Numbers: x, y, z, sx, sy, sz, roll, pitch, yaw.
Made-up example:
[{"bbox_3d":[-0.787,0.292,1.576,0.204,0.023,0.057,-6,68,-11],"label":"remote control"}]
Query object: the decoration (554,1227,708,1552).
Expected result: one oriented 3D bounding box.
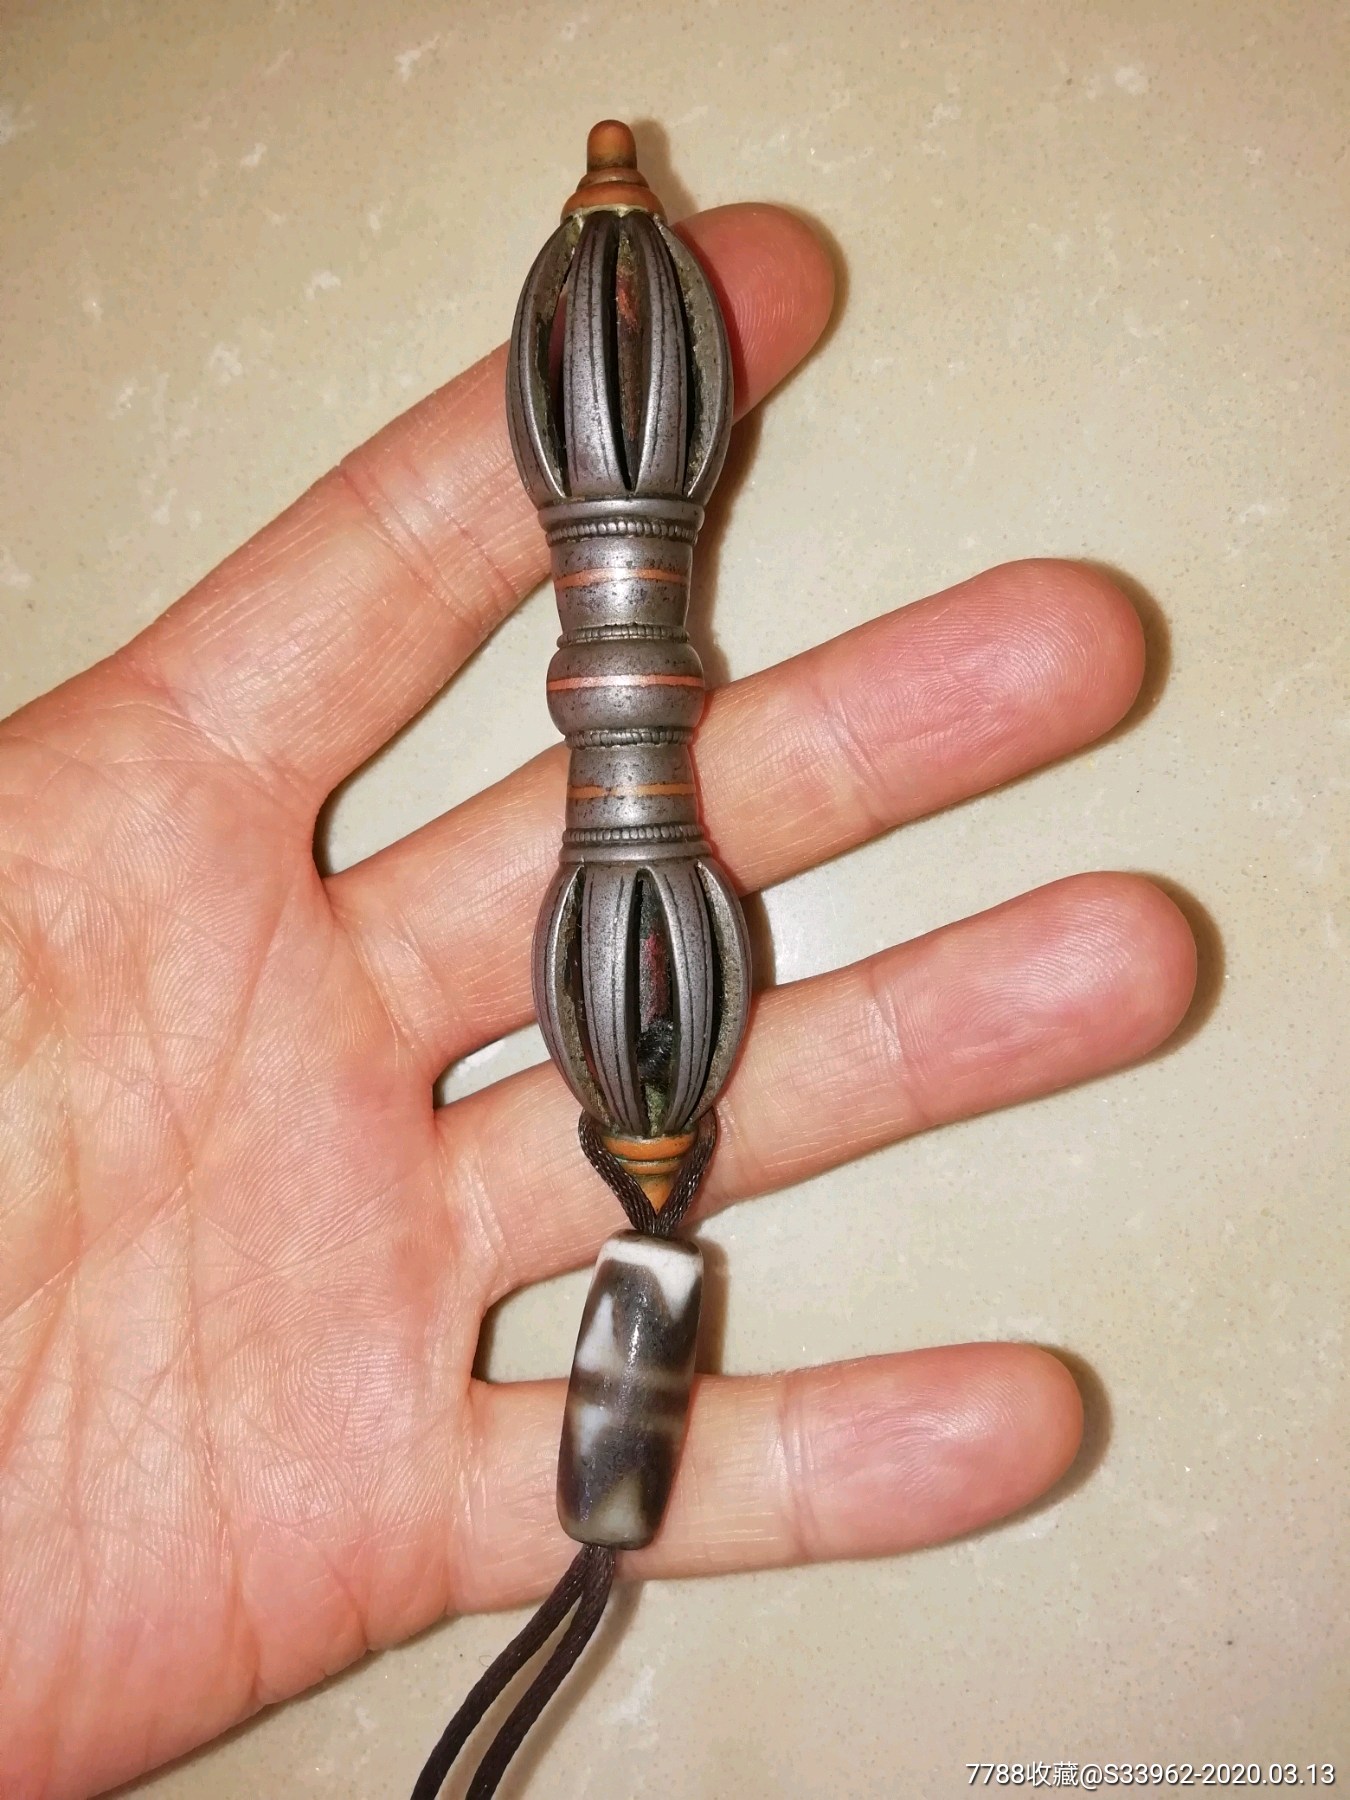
[{"bbox_3d":[-0.026,0.350,1.321,0.097,0.072,0.220,5,79,11],"label":"decoration"}]
